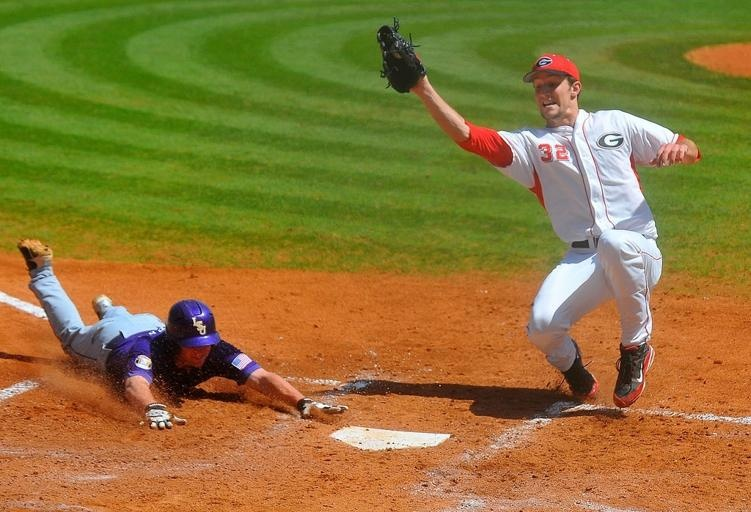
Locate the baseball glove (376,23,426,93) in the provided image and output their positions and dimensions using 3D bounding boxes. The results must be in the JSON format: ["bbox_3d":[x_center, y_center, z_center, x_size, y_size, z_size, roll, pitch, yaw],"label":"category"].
[{"bbox_3d":[0.326,-1.838,11.164,0.543,0.598,0.259,-4,9,27],"label":"baseball glove"}]

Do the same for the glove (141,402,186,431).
[{"bbox_3d":[-1.880,1.411,10.484,0.307,0.075,0.276,20,9,0],"label":"glove"}]

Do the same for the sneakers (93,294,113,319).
[{"bbox_3d":[-2.661,0.506,11.668,0.203,0.164,0.192,-15,32,5],"label":"sneakers"}]

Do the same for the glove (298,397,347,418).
[{"bbox_3d":[-0.515,1.378,10.981,0.512,0.181,0.159,-1,17,-3],"label":"glove"}]

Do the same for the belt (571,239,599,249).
[{"bbox_3d":[1.909,-0.103,11.034,0.157,0.046,0.112,-7,-10,36],"label":"belt"}]

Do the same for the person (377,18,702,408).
[{"bbox_3d":[2.088,-0.221,11.038,1.507,3.186,1.170,0,19,15],"label":"person"}]

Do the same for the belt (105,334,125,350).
[{"bbox_3d":[-2.387,0.786,11.137,0.178,0.108,0.161,-20,1,0],"label":"belt"}]

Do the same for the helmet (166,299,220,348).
[{"bbox_3d":[-1.682,0.615,10.887,0.404,0.237,0.497,-7,18,-32],"label":"helmet"}]
